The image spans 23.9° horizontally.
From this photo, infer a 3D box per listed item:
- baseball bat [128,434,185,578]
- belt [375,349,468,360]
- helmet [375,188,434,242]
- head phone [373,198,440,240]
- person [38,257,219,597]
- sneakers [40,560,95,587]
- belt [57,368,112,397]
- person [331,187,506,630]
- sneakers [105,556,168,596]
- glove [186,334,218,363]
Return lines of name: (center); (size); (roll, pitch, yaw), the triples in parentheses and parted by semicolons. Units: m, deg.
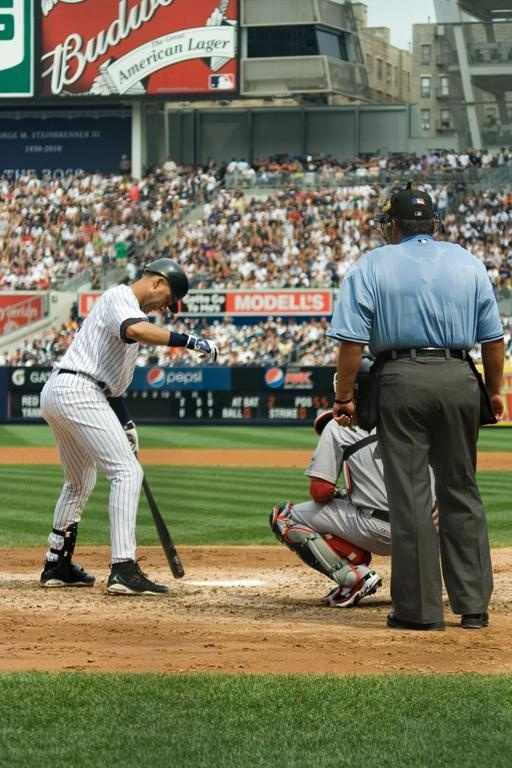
baseball bat: (-0.716, 0.881, 8.815); (0.127, 0.939, 0.051); (-22, -17, -30)
belt: (0.647, -0.112, 4.713); (0.352, 0.042, 0.117); (-2, 1, 7)
helmet: (0.619, -0.698, 5.023); (0.181, 0.185, 0.254); (-1, 19, 0)
head phone: (0.663, -0.687, 4.989); (0.179, 0.225, 0.230); (-1, -1, 22)
person: (-0.638, 0.207, 5.575); (0.757, 1.446, 0.980); (-3, 1, -12)
sneakers: (-0.914, 0.918, 5.879); (0.315, 0.135, 0.109); (1, 1, -13)
belt: (-0.767, -0.014, 5.519); (0.152, 0.038, 0.152); (29, 0, 7)
person: (0.659, 0.093, 4.796); (0.732, 1.451, 0.432); (-3, 1, -3)
sneakers: (-0.572, 0.902, 5.539); (0.346, 0.192, 0.113); (2, -5, -11)
glove: (-0.233, -0.148, 5.254); (0.149, 0.063, 0.088); (11, 32, -35)
